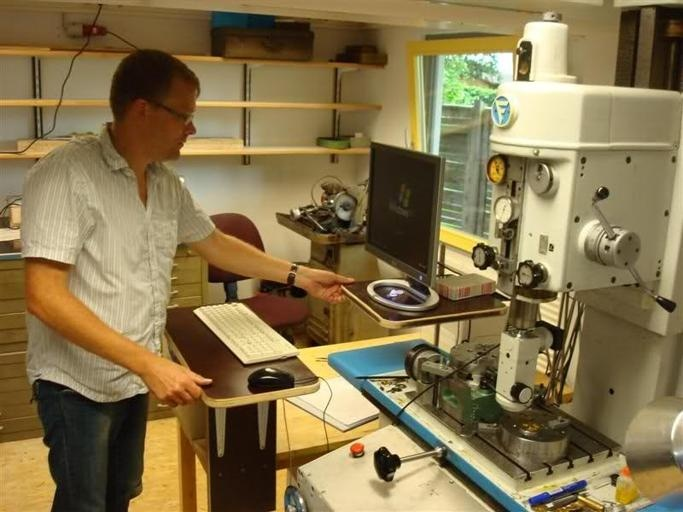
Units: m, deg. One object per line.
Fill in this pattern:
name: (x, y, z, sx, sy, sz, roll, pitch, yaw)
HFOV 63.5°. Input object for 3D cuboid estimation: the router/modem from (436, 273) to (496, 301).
router/modem: (0.463, 0.108, 2.191, 0.139, 0.037, 0.132, -7, 20, -23)

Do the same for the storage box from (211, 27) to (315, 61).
storage box: (-0.557, -1.507, 3.953, 0.480, 0.153, 0.338, 2, 4, -2)

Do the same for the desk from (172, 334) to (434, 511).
desk: (-0.125, 0.533, 1.774, 0.741, 0.362, 0.403, -5, 10, -32)

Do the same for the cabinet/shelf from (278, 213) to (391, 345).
cabinet/shelf: (-0.046, -0.002, 4.471, 0.870, 1.225, 1.228, -1, 9, -16)

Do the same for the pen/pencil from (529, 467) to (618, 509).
pen/pencil: (0.564, 0.574, 1.358, 0.222, 0.024, 0.024, -15, 14, -16)

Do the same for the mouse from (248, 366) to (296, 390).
mouse: (-0.216, 0.363, 1.651, 0.112, 0.037, 0.063, -3, 16, -17)

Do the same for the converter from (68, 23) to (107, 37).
converter: (-1.830, -1.588, 3.916, 0.300, 0.108, 0.090, 0, 11, 2)
